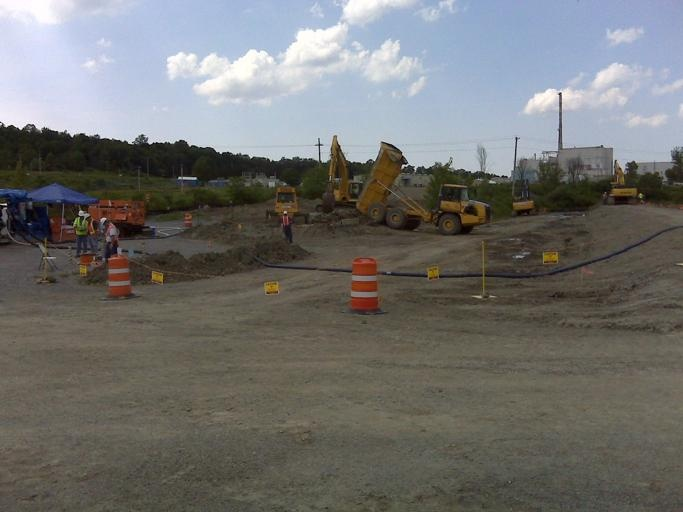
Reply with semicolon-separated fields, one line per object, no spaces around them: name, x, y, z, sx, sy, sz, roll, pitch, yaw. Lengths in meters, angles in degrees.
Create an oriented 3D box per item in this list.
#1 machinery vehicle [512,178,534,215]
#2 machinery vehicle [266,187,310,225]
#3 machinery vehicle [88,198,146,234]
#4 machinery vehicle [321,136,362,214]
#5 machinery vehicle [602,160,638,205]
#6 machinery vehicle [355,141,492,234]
machinery vehicle;17.227;-5.433;53.806;2.335;3.485;2.380;-1;-1;8
machinery vehicle;-3.728;-3.178;40.279;3.026;2.816;5.569;1;12;0
machinery vehicle;-13.773;-2.283;35.043;2.955;2.053;2.109;0;-2;-18
machinery vehicle;-0.124;-5.554;38.754;3.081;5.208;2.482;-10;21;-31
machinery vehicle;26.318;-7.285;53.958;2.154;4.204;6.085;-2;8;18
machinery vehicle;4.754;-3.942;33.849;7.577;4.949;2.981;9;5;22
